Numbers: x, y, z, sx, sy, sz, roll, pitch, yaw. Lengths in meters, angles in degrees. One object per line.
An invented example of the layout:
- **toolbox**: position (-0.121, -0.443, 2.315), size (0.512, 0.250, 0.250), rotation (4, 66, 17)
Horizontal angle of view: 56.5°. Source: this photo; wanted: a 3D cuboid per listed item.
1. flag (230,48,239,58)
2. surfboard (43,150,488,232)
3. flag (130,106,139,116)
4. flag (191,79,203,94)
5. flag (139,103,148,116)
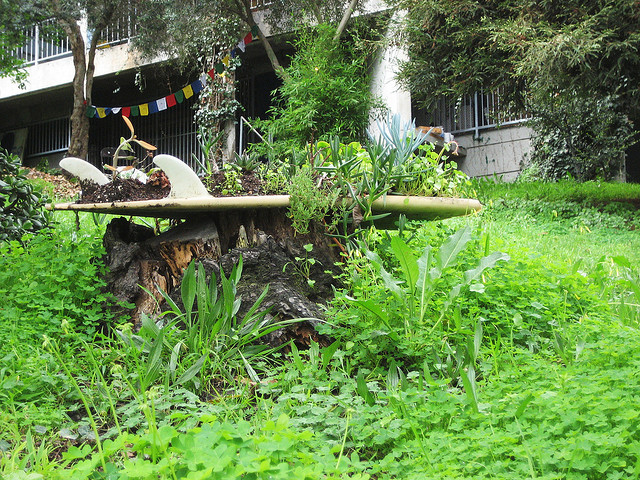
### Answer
- **flag**: position (-1.057, -2.358, 7.428), size (0.108, 0.099, 0.120), rotation (-1, -10, -4)
- **surfboard**: position (-0.325, -0.294, 4.016), size (2.612, 0.627, 1.062), rotation (-2, 7, 11)
- **flag**: position (-2.341, -1.654, 7.600), size (0.131, 0.155, 0.042), rotation (2, -6, -28)
- **flag**: position (-1.529, -1.941, 7.494), size (0.131, 0.145, 0.038), rotation (-6, 2, 36)
- **flag**: position (-2.267, -1.706, 7.718), size (0.103, 0.154, 0.261), rotation (-4, 7, -16)
